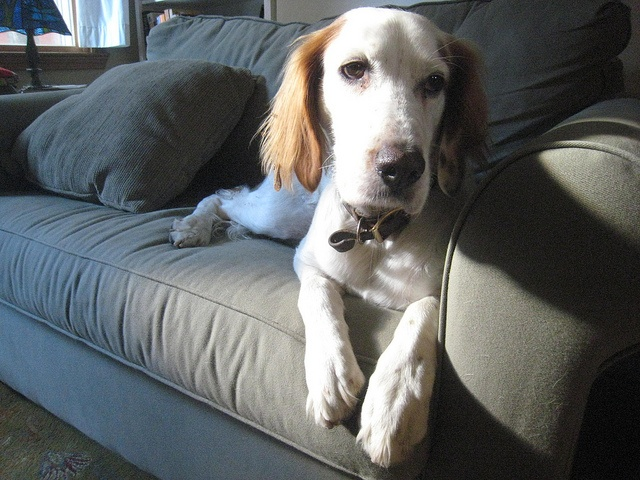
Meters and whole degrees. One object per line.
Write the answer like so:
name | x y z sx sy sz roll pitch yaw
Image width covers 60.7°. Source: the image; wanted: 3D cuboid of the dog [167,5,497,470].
dog | 0.066 -0.130 1.345 0.602 0.543 1.020 2 34 1
